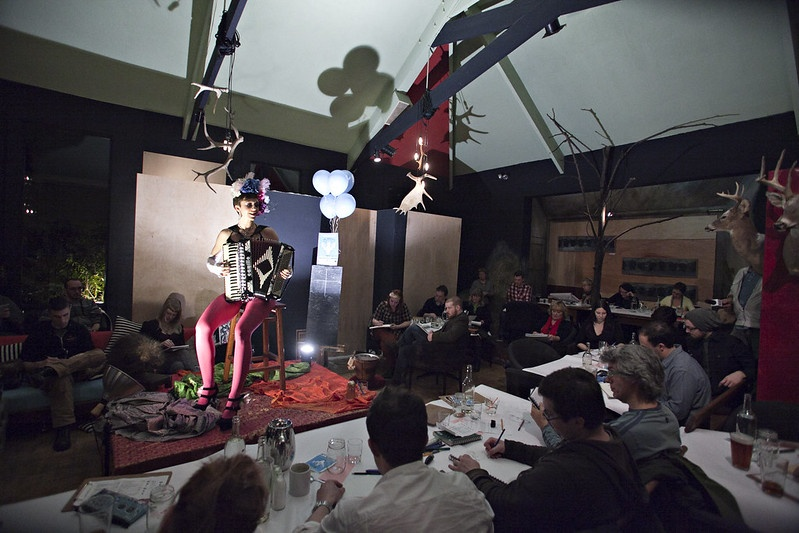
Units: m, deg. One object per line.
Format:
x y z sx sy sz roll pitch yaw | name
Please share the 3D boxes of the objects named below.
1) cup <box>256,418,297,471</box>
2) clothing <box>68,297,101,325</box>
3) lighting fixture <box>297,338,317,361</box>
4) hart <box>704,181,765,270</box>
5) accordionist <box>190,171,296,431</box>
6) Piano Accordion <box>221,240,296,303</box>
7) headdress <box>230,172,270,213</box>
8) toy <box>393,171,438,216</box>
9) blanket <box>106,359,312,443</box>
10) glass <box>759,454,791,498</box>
-1.034 1.527 4.361 0.305 0.410 0.383 5 3 0 | cup
-4.220 0.613 6.868 0.185 0.324 0.342 -18 -8 30 | clothing
-1.366 1.301 7.851 0.304 0.336 0.300 -3 12 -34 | lighting fixture
4.676 -0.470 7.169 0.817 1.393 0.691 10 11 36 | hart
-1.848 0.302 5.951 1.053 2.613 1.283 2 7 3 | accordionist
-1.620 0.049 5.805 0.928 0.875 0.353 0 2 -25 | Piano Accordion
-1.764 -0.840 5.905 0.231 0.481 0.485 1 -3 25 | headdress
0.277 -1.466 10.138 0.608 0.866 0.522 20 -30 -1 | toy
-2.622 1.582 5.788 1.257 0.467 0.783 2 1 -5 | blanket
3.152 1.754 4.290 0.249 0.381 0.098 2 1 -11 | glass
